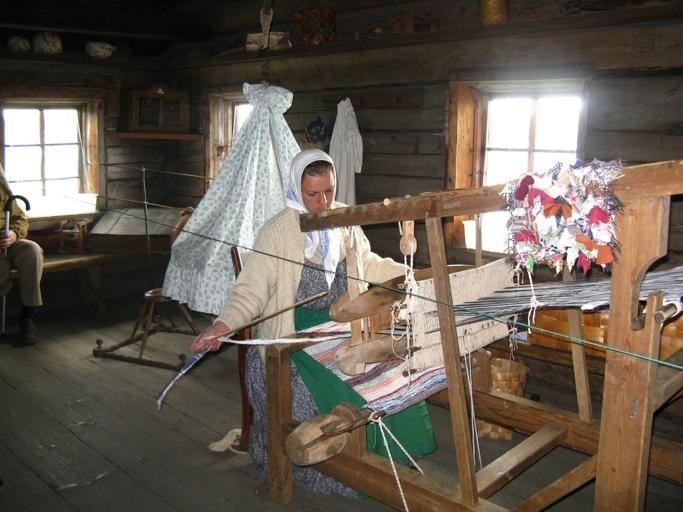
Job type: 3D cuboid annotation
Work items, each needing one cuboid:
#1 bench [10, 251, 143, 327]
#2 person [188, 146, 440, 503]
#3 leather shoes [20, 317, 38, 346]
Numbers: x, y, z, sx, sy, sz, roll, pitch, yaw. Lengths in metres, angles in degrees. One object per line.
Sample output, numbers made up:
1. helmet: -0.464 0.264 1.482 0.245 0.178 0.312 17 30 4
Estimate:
1. bench: -2.467 0.288 4.518 0.501 0.355 0.646 -20 0 5
2. person: -0.070 0.328 2.483 0.976 1.639 0.836 -1 9 2
3. leather shoes: -2.444 0.590 4.191 0.108 0.185 0.185 -6 10 -30
